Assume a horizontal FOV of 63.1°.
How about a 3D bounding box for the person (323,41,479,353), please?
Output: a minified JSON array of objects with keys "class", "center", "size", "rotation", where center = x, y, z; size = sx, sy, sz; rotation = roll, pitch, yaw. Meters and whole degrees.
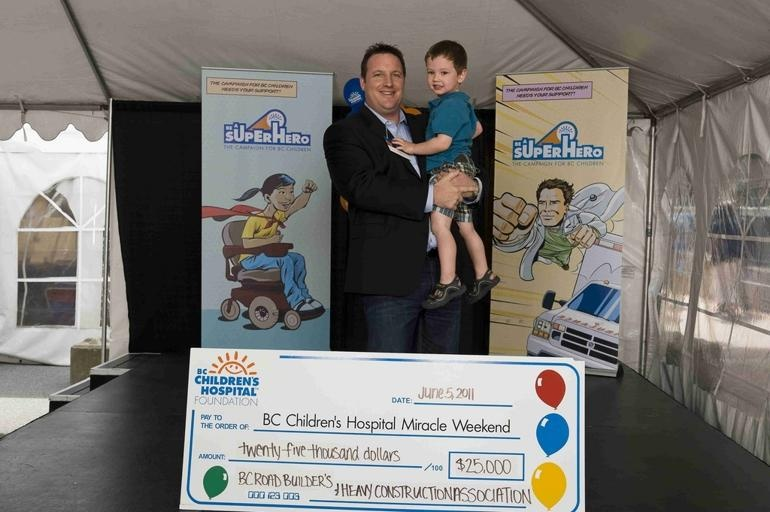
[{"class":"person","center":[0.085,-0.367,3.874],"size":[0.789,1.916,0.590],"rotation":[1,3,-36]}]
